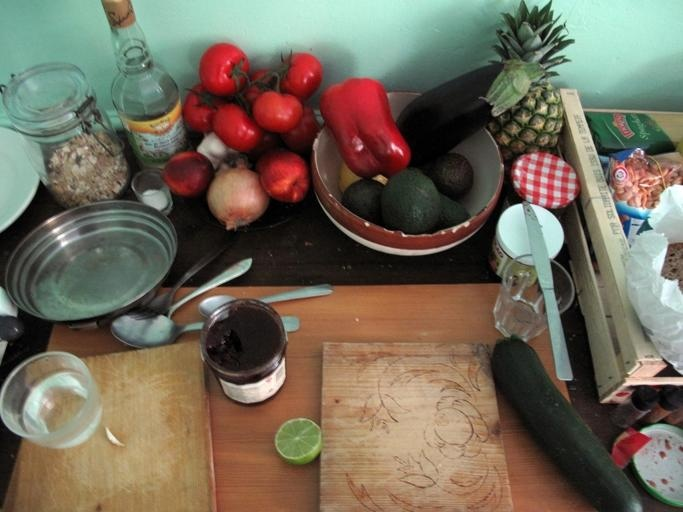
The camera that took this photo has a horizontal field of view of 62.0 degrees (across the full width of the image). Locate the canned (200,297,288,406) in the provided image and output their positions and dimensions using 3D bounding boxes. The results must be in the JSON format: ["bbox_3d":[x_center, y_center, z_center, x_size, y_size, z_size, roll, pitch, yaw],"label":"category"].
[{"bbox_3d":[-0.172,0.178,1.057,0.152,0.137,0.150,-37,66,-17],"label":"canned"}]

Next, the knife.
[{"bbox_3d":[0.388,0.067,1.071,0.056,0.017,0.408,3,59,7],"label":"knife"}]

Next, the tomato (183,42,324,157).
[{"bbox_3d":[-0.201,-0.345,1.263,0.316,0.201,0.205,-1,61,1],"label":"tomato"}]

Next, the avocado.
[{"bbox_3d":[0.145,-0.117,1.161,0.282,0.153,0.175,-14,62,-5],"label":"avocado"}]

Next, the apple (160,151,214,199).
[{"bbox_3d":[-0.341,-0.190,1.268,0.107,0.103,0.112,8,102,11],"label":"apple"}]

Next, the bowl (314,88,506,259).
[{"bbox_3d":[0.135,-0.109,1.335,0.339,0.344,0.481,-8,53,-8],"label":"bowl"}]

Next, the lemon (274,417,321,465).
[{"bbox_3d":[-0.077,0.333,1.024,0.081,0.074,0.070,1,44,0],"label":"lemon"}]

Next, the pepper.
[{"bbox_3d":[0.048,-0.265,1.178,0.132,0.104,0.236,-16,67,3],"label":"pepper"}]

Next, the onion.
[{"bbox_3d":[-0.229,-0.123,1.299,0.118,0.130,0.135,5,82,-4],"label":"onion"}]

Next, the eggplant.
[{"bbox_3d":[0.239,-0.292,1.249,0.358,0.137,0.137,-25,33,20],"label":"eggplant"}]

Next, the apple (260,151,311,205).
[{"bbox_3d":[-0.128,-0.179,1.262,0.112,0.082,0.101,-15,62,-6],"label":"apple"}]
